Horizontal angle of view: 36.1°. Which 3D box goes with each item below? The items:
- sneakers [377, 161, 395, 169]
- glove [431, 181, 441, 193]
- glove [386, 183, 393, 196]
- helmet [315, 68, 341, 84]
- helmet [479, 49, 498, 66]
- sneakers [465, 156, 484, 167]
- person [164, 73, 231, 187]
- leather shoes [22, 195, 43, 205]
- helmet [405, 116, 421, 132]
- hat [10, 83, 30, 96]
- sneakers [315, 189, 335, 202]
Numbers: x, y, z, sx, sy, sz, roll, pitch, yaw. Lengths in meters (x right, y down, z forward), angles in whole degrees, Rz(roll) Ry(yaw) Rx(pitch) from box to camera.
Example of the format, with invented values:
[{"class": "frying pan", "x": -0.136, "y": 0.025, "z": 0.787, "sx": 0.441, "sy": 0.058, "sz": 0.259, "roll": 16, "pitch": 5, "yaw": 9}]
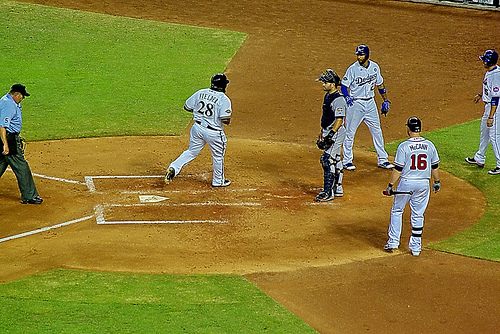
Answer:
[{"class": "sneakers", "x": 3.978, "y": -0.060, "z": 22.528, "sx": 0.483, "sy": 0.170, "sz": 0.180, "roll": 4, "pitch": 13, "yaw": 22}, {"class": "glove", "x": 4.515, "y": 0.432, "z": 18.631, "sx": 0.290, "sy": 0.328, "sz": 0.122, "roll": 4, "pitch": 39, "yaw": 3}, {"class": "glove", "x": 3.296, "y": 0.519, "z": 18.191, "sx": 0.147, "sy": 0.336, "sz": 0.198, "roll": 8, "pitch": 19, "yaw": 9}, {"class": "helmet", "x": 2.070, "y": -2.334, "z": 19.966, "sx": 0.651, "sy": 0.282, "sz": 0.369, "roll": 8, "pitch": 27, "yaw": -5}, {"class": "helmet", "x": 6.757, "y": -3.097, "z": 21.777, "sx": 0.470, "sy": 0.426, "sz": 0.452, "roll": 12, "pitch": 19, "yaw": 23}, {"class": "sneakers", "x": 6.615, "y": -0.151, "z": 22.783, "sx": 0.580, "sy": 0.247, "sz": 0.206, "roll": 22, "pitch": 22, "yaw": 17}, {"class": "person", "x": -1.173, "y": -0.973, "z": 20.515, "sx": 1.525, "sy": 2.991, "sz": 0.862, "roll": 3, "pitch": 19, "yaw": -6}, {"class": "leather shoes", "x": -5.468, "y": 0.821, "z": 19.636, "sx": 0.592, "sy": 0.228, "sz": 0.191, "roll": -5, "pitch": 20, "yaw": -6}, {"class": "helmet", "x": 3.861, "y": -1.036, "z": 18.212, "sx": 0.333, "sy": 0.224, "sz": 0.412, "roll": 0, "pitch": 30, "yaw": 0}, {"class": "hat", "x": -5.733, "y": -1.942, "z": 19.344, "sx": 0.488, "sy": 0.209, "sz": 0.292, "roll": 0, "pitch": 19, "yaw": -33}, {"class": "sneakers", "x": 1.979, "y": 0.776, "z": 20.302, "sx": 0.538, "sy": 0.199, "sz": 0.223, "roll": -3, "pitch": 12, "yaw": -18}]
